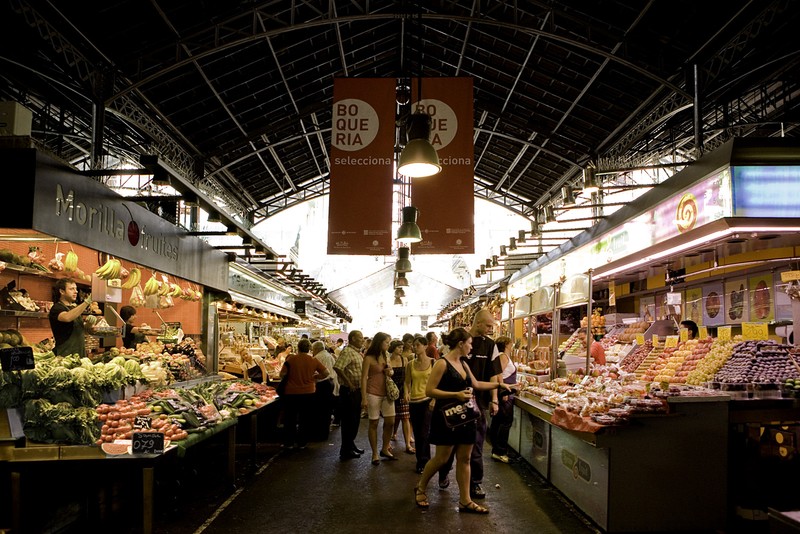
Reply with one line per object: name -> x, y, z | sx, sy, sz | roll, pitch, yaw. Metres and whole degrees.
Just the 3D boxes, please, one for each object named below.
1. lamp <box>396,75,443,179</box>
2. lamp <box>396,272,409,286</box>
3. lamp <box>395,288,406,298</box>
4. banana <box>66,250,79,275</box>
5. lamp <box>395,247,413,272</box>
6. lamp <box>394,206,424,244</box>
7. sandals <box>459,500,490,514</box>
lamp -> 0.234, -1.598, 7.555 | 0.486, 0.898, 0.564 | -1, -3, 1
lamp -> 0.064, 0.288, 14.428 | 0.272, 0.321, 0.317 | 1, 0, 3
lamp -> 0.022, 0.774, 18.775 | 0.280, 0.204, 0.323 | 2, 3, 43
banana -> -4.918, -0.061, 9.098 | 0.093, 0.363, 0.186 | 13, -5, 35
lamp -> 0.090, -0.163, 13.530 | 0.495, 0.530, 0.456 | 0, -7, -9
lamp -> 0.092, -0.658, 9.314 | 0.462, 0.490, 0.477 | -4, -6, 27
sandals -> 0.940, 2.997, 7.659 | 0.356, 0.136, 0.147 | -2, -3, 11
